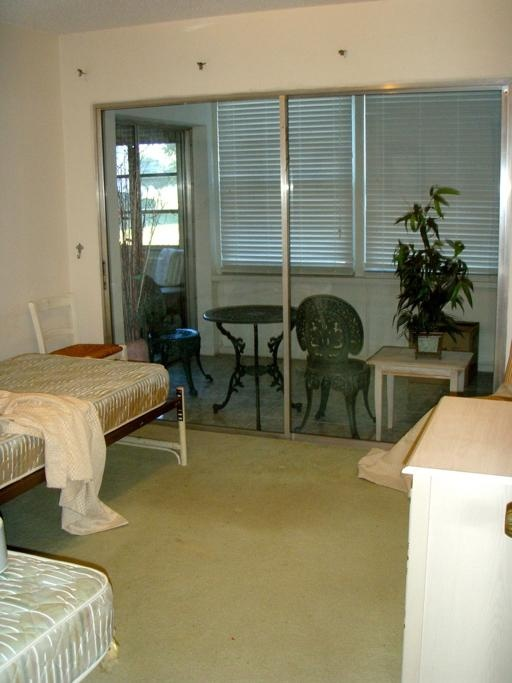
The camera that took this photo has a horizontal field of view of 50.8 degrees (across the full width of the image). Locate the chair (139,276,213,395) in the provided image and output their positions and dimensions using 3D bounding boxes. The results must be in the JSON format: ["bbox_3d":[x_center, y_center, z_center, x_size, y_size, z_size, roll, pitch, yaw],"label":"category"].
[{"bbox_3d":[-0.636,-0.087,4.102,0.401,0.870,0.375,-1,13,20],"label":"chair"}]

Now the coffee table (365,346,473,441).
[{"bbox_3d":[1.046,0.190,3.601,0.722,0.671,0.461,4,21,17],"label":"coffee table"}]

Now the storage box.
[{"bbox_3d":[1.105,0.039,3.384,0.496,0.480,0.279,1,8,9],"label":"storage box"}]

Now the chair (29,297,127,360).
[{"bbox_3d":[-1.312,-0.086,3.871,0.733,0.440,0.503,4,9,35],"label":"chair"}]

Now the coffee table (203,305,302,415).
[{"bbox_3d":[-0.028,0.099,3.960,0.701,0.749,0.687,-1,5,-1],"label":"coffee table"}]
